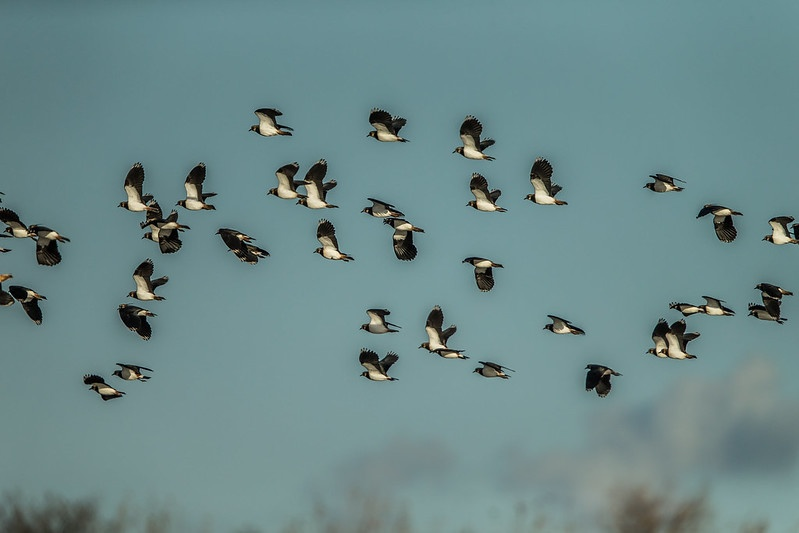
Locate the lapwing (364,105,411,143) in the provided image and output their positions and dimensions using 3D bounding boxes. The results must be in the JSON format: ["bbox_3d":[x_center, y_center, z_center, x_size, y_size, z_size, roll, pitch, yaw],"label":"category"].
[{"bbox_3d":[-0.310,-2.976,37.455,0.761,0.694,0.527,0,25,-5],"label":"lapwing"}]

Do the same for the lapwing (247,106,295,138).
[{"bbox_3d":[-2.884,-3.044,37.514,0.707,0.615,0.742,-4,25,-12],"label":"lapwing"}]
